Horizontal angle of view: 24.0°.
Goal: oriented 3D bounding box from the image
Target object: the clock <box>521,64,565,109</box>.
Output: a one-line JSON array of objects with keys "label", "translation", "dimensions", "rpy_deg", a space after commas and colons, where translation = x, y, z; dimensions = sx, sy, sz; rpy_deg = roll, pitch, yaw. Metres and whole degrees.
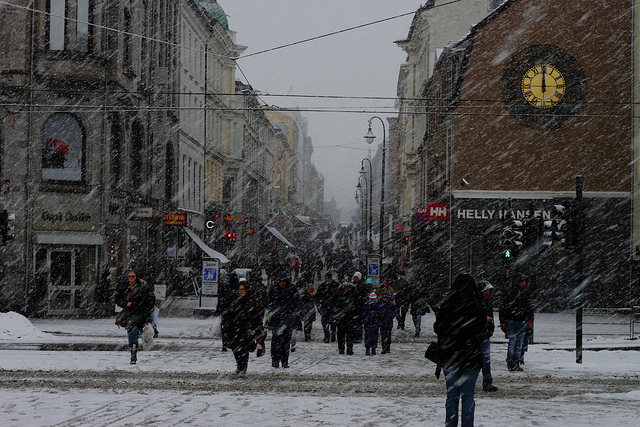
[{"label": "clock", "translation": [11.077, -6.510, 74.071], "dimensions": [2.038, 1.786, 0.322], "rpy_deg": [0, -7, 3]}]

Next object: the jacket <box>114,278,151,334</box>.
[{"label": "jacket", "translation": [-6.879, 3.402, 55.939], "dimensions": [1.154, 2.028, 2.091], "rpy_deg": [0, -1, -1]}]

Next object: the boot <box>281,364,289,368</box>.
[{"label": "boot", "translation": [-1.318, 5.602, 55.535], "dimensions": [0.280, 0.119, 0.205], "rpy_deg": [1, -7, -1]}]

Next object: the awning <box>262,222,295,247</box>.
[{"label": "awning", "translation": [-3.672, 1.414, 114.127], "dimensions": [0.797, 0.470, 5.423], "rpy_deg": [1, 17, -35]}]

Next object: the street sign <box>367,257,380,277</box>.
[{"label": "street sign", "translation": [2.591, 2.564, 72.970], "dimensions": [0.569, 0.941, 0.542], "rpy_deg": [0, -7, 5]}]

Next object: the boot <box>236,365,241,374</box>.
[{"label": "boot", "translation": [-2.983, 5.610, 54.279], "dimensions": [0.086, 0.254, 0.089], "rpy_deg": [9, -1, 14]}]

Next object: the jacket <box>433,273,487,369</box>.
[{"label": "jacket", "translation": [4.615, 3.513, 49.562], "dimensions": [1.566, 3.140, 0.457], "rpy_deg": [0, -7, 6]}]

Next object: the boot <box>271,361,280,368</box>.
[{"label": "boot", "translation": [-1.670, 5.552, 55.592], "dimensions": [0.299, 0.233, 0.319], "rpy_deg": [2, -7, -5]}]

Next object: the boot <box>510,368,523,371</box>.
[{"label": "boot", "translation": [7.339, 5.725, 55.495], "dimensions": [0.490, 0.101, 0.170], "rpy_deg": [5, -8, -32]}]

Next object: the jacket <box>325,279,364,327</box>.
[{"label": "jacket", "translation": [1.009, 3.533, 59.038], "dimensions": [1.304, 1.827, 1.650], "rpy_deg": [2, -7, -6]}]

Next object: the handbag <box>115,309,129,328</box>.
[{"label": "handbag", "translation": [-7.391, 3.817, 55.579], "dimensions": [0.469, 0.555, 0.468], "rpy_deg": [3, -7, -13]}]

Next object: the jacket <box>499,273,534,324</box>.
[{"label": "jacket", "translation": [7.233, 3.126, 55.462], "dimensions": [1.073, 1.949, 1.463], "rpy_deg": [0, 0, 0]}]

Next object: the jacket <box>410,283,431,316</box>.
[{"label": "jacket", "translation": [4.221, 3.615, 63.658], "dimensions": [0.756, 1.282, 1.076], "rpy_deg": [0, -7, 4]}]

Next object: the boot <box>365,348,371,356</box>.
[{"label": "boot", "translation": [1.856, 5.324, 58.209], "dimensions": [0.242, 0.401, 0.229], "rpy_deg": [2, 6, 10]}]

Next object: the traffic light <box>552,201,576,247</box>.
[{"label": "traffic light", "translation": [9.363, 0.360, 57.027], "dimensions": [1.050, 1.728, 0.597], "rpy_deg": [-3, -8, 29]}]

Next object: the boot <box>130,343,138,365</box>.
[{"label": "boot", "translation": [-6.943, 5.134, 55.351], "dimensions": [0.217, 0.789, 0.405], "rpy_deg": [1, -7, -2]}]

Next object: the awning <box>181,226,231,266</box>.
[{"label": "awning", "translation": [-6.125, 1.680, 79.375], "dimensions": [3.936, 2.289, 2.169], "rpy_deg": [1, 0, -4]}]

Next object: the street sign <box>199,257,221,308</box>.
[{"label": "street sign", "translation": [-4.895, 2.796, 66.238], "dimensions": [0.833, 1.814, 0.644], "rpy_deg": [1, -7, -3]}]

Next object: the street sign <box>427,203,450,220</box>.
[{"label": "street sign", "translation": [5.821, -0.123, 73.803], "dimensions": [1.332, 0.845, 0.688], "rpy_deg": [0, -4, 2]}]
